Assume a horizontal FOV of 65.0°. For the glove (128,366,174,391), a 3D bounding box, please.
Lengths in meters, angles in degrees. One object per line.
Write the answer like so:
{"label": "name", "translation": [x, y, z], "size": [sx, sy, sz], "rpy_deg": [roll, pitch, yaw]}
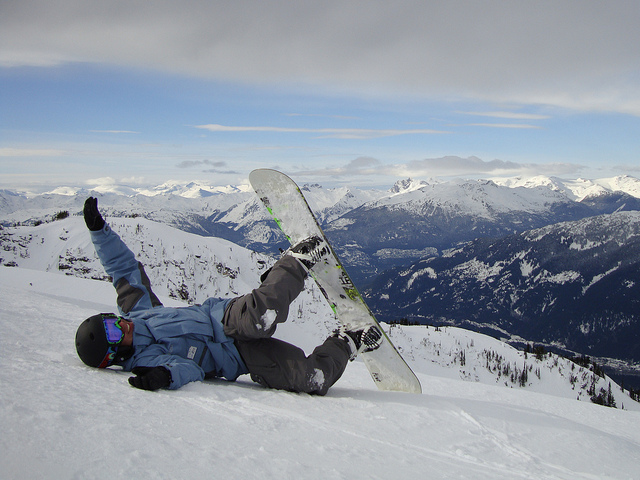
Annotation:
{"label": "glove", "translation": [-2.157, 1.757, 6.418], "size": [0.327, 0.144, 0.329], "rpy_deg": [10, 9, -29]}

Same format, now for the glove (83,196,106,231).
{"label": "glove", "translation": [-3.558, -0.364, 7.823], "size": [0.332, 0.235, 0.919], "rpy_deg": [-4, -20, -26]}
